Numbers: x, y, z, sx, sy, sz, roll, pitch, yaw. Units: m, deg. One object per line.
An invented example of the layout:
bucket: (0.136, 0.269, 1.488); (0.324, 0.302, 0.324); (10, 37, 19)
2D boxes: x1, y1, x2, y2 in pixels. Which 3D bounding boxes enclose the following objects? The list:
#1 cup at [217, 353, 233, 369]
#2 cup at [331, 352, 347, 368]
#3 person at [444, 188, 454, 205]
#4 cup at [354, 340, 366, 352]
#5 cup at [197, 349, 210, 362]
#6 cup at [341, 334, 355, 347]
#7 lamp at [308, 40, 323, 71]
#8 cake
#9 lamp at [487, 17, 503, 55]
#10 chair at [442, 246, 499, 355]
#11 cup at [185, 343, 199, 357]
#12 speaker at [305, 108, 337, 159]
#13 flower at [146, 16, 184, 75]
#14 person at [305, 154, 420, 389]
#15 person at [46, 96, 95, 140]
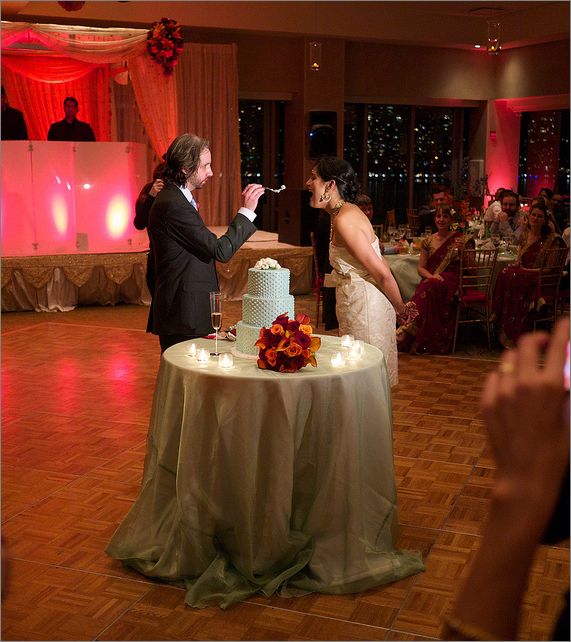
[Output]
cup: (-0.261, 0.167, 2.194); (0.045, 0.046, 0.053); (-2, 12, -7)
cup: (0.229, 0.168, 2.248); (0.048, 0.051, 0.057); (-1, 6, 15)
person: (2.111, -1.617, 6.593); (0.126, 0.263, 1.386); (3, 12, 17)
cup: (0.351, 0.120, 2.424); (0.049, 0.068, 0.056); (0, 0, 21)
cup: (-0.367, 0.150, 2.292); (0.042, 0.059, 0.050); (0, 6, 3)
cup: (0.312, 0.096, 2.530); (0.051, 0.053, 0.060); (0, 7, 2)
lamp: (0.540, -4.842, 9.336); (0.190, 0.496, 0.439); (0, 10, 0)
cake: (-0.111, -0.099, 2.455); (0.318, 0.499, 0.312); (-12, 19, -36)
lamp: (2.733, -3.799, 6.707); (0.148, 0.468, 0.521); (4, 11, 19)
chair: (2.244, -0.259, 6.033); (0.415, 1.229, 0.460); (2, 0, 29)
cup: (-0.437, 0.136, 2.400); (0.045, 0.069, 0.061); (4, 11, 11)
speaker: (0.754, -3.886, 10.635); (0.609, 1.005, 0.434); (1, 9, 2)
flower: (-1.710, -3.863, 7.153); (0.497, 0.792, 0.349); (-1, 9, -6)
person: (0.474, -0.162, 3.315); (0.569, 1.821, 0.437); (1, 25, 18)
person: (-3.565, -3.313, 8.451); (0.686, 0.837, 0.377); (-4, 24, -29)
